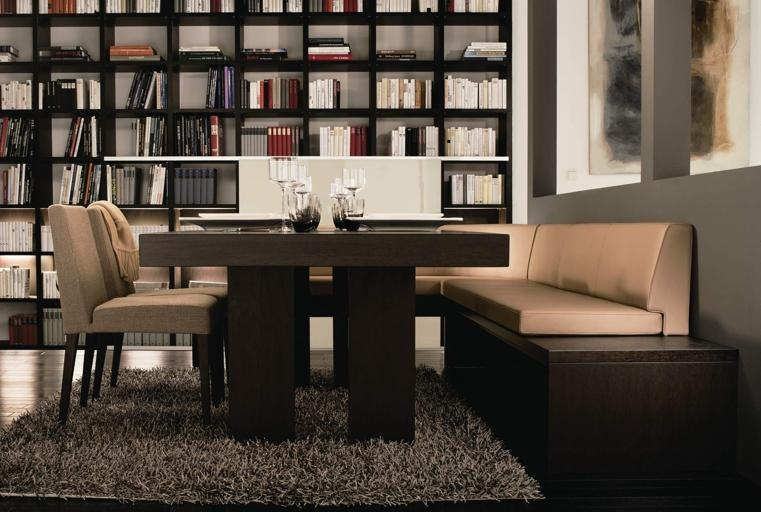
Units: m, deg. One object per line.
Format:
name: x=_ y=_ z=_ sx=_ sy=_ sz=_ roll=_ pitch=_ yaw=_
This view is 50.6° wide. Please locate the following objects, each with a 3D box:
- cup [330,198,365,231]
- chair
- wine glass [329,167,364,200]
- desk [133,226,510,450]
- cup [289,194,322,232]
cup: x=-0.175 y=-0.236 z=4.753 sx=0.179 sy=0.206 sz=0.174 roll=-1 pitch=-2 yaw=0
chair: x=-1.497 y=0.250 z=5.385 sx=1.048 sy=1.622 sz=1.887 roll=0 pitch=0 yaw=-8
wine glass: x=-0.187 y=-0.413 z=4.656 sx=0.172 sy=0.307 sz=0.180 roll=1 pitch=-6 yaw=-2
desk: x=-0.377 y=0.361 z=4.906 sx=1.344 sy=0.886 sz=1.400 roll=0 pitch=0 yaw=-2
cup: x=-0.431 y=-0.243 z=4.677 sx=0.187 sy=0.232 sz=0.194 roll=0 pitch=0 yaw=0
